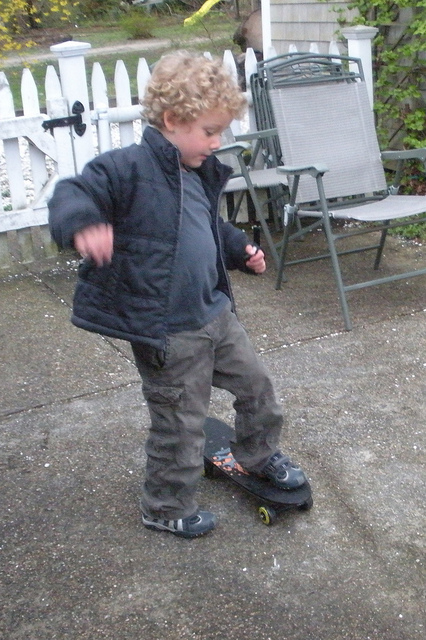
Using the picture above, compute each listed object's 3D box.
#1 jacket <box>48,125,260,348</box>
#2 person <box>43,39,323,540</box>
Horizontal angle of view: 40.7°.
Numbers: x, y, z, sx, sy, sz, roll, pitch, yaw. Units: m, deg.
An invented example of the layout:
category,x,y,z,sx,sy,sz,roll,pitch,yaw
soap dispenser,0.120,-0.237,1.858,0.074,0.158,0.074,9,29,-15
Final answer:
category,x,y,z,sx,sy,sz,roll,pitch,yaw
jacket,-0.209,-0.186,1.395,0.356,0.532,0.251,-15,21,-21
person,-0.117,-0.056,1.574,0.779,1.229,0.531,-8,13,-30
